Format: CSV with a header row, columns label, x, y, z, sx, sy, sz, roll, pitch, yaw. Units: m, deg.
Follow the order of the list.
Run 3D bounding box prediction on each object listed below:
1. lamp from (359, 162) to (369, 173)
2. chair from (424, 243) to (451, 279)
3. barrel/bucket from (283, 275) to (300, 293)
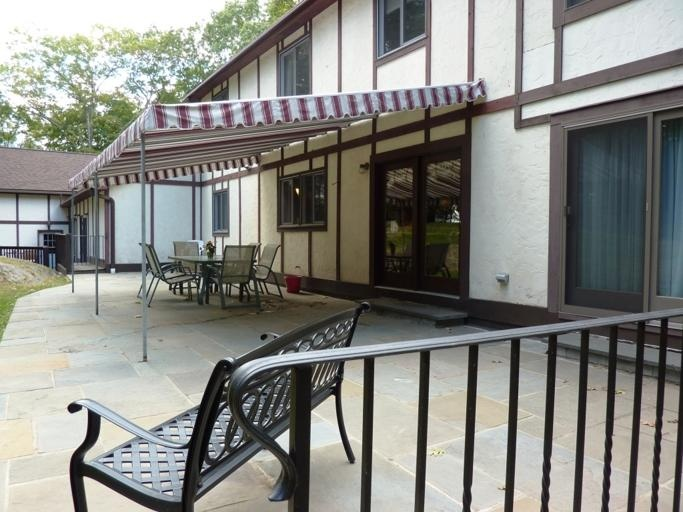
label,x,y,z,sx,sy,sz,roll,pitch,yaw
lamp,0.376,-1.513,9.295,0.178,0.155,0.132,5,5,32
chair,1.386,0.056,8.015,0.382,0.554,0.433,2,-3,7
barrel/bucket,-0.931,0.547,10.765,0.282,0.333,0.358,-1,3,-8
